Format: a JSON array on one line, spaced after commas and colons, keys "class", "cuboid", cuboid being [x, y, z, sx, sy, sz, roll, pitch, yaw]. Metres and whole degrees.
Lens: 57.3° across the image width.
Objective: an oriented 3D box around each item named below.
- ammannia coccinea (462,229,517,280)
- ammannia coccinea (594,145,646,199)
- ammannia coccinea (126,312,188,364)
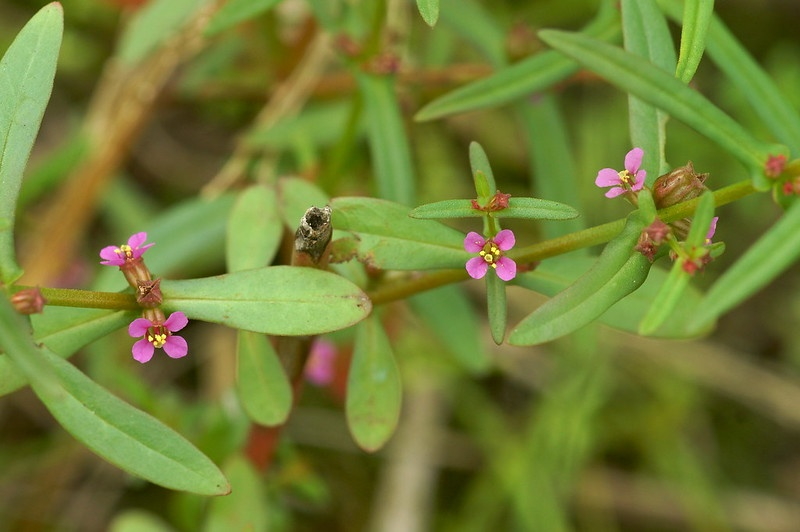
[{"class": "ammannia coccinea", "cuboid": [0.279, -0.040, 2.233, 0.149, 0.166, 0.181, -11, 36, 7]}, {"class": "ammannia coccinea", "cuboid": [0.689, -0.280, 2.234, 0.124, 0.121, 0.180, 8, 43, 30]}, {"class": "ammannia coccinea", "cuboid": [-0.726, 0.215, 2.210, 0.194, 0.142, 0.078, -5, -2, -17]}]
